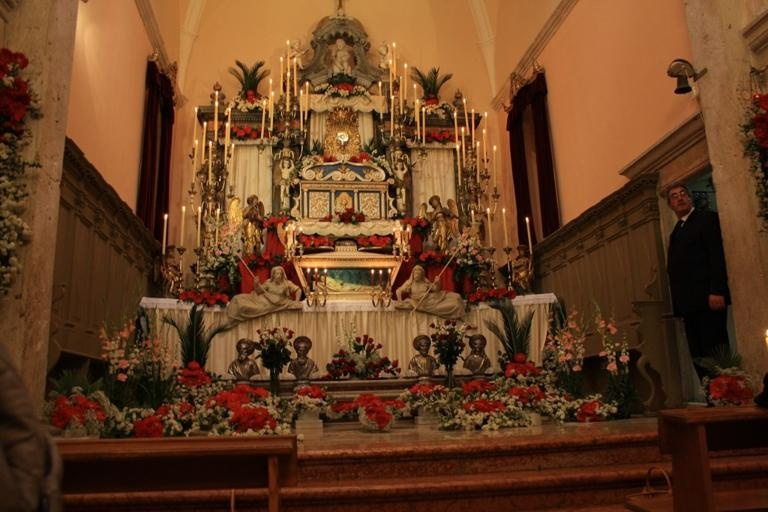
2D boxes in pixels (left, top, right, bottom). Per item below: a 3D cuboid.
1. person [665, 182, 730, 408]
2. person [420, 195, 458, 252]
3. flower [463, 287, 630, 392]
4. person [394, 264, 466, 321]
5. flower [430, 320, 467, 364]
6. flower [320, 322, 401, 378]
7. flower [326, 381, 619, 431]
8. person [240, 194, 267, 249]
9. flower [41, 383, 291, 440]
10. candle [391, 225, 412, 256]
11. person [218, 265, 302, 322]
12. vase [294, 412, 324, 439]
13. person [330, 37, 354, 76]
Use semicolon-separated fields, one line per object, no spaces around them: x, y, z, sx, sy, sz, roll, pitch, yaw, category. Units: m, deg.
3.136;0.148;7.146;0.570;1.744;0.375;-10;-16;39;person
0.931;-0.519;11.762;0.601;1.202;1.189;-1;-12;4;person
2.117;1.051;8.914;1.316;0.889;1.380;0;-8;23;flower
0.670;0.483;9.530;0.905;0.670;0.485;9;9;22;person
0.771;1.044;8.451;0.371;0.518;0.392;-19;-30;41;flower
-0.248;1.148;8.376;0.670;0.532;0.698;1;-6;1;flower
0.992;1.560;7.463;2.933;0.507;1.136;4;-13;-19;flower
-2.050;-0.480;11.228;0.366;0.938;0.351;5;-13;-21;person
-1.936;1.431;6.634;2.060;0.464;1.429;0;-12;-4;flower
0.249;-0.222;10.724;0.376;0.583;0.289;1;-15;-1;candle
-1.580;0.480;9.373;1.090;0.664;0.754;-5;16;-37;person
-0.731;1.656;7.009;0.281;0.251;0.624;1;-13;-7;vase
-0.769;-3.666;13.083;0.394;0.896;0.284;1;-12;-5;person
